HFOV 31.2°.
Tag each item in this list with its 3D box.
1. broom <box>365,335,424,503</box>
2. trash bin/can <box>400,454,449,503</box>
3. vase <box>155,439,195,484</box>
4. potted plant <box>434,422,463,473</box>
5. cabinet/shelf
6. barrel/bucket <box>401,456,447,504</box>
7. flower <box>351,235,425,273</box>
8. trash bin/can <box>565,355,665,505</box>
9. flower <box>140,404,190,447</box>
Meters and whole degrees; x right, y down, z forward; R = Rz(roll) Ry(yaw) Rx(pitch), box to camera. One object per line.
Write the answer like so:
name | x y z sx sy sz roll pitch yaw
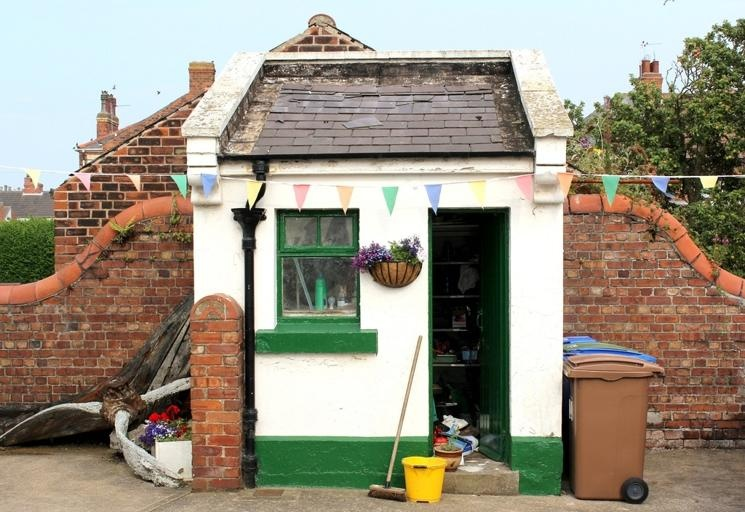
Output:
broom | 0.320 2.404 19.777 0.855 2.310 0.716 2 0 -3
trash bin/can | 0.809 3.285 19.725 0.699 0.607 0.507 -2 -5 36
vase | -3.021 3.048 20.310 0.782 0.746 0.525 0 -8 -8
potted plant | 1.141 2.888 20.091 0.479 0.588 0.422 15 4 -41
cabinet/shelf | 1.372 1.247 22.064 0.808 3.569 0.360 1 17 7
barrel/bucket | 0.746 3.285 19.647 0.634 0.662 0.325 0 -6 3
flower | 0.230 -0.054 19.891 1.048 0.522 0.213 0 -6 -2
trash bin/can | 3.638 2.570 20.214 1.233 2.203 1.294 0 -3 5
flower | -3.212 2.580 20.436 0.642 0.355 0.644 2 8 -13
